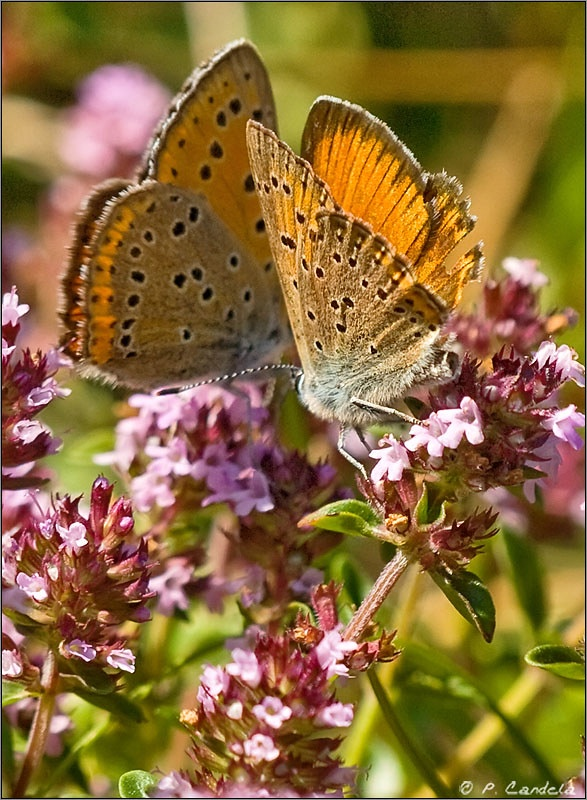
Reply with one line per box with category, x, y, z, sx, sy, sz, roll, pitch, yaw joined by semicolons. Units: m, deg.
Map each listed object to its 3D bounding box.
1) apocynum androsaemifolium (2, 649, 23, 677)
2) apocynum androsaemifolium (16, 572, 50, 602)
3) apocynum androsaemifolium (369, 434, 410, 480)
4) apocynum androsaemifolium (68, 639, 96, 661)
apocynum androsaemifolium;-0.917;0.850;2.752;0.073;0.033;0.078;1;97;4
apocynum androsaemifolium;-0.829;0.594;2.701;0.097;0.046;0.086;36;62;0
apocynum androsaemifolium;0.321;0.191;2.796;0.132;0.120;0.156;0;67;3
apocynum androsaemifolium;-0.659;0.768;2.620;0.078;0.032;0.059;15;43;9
